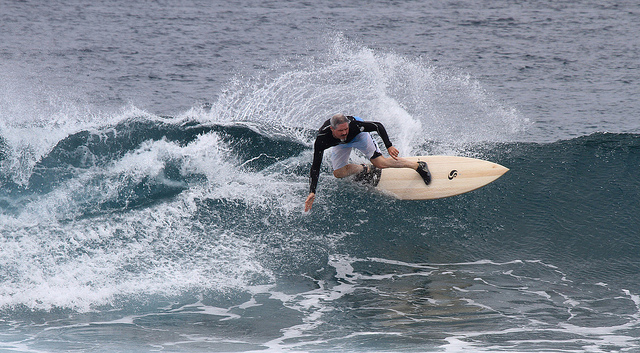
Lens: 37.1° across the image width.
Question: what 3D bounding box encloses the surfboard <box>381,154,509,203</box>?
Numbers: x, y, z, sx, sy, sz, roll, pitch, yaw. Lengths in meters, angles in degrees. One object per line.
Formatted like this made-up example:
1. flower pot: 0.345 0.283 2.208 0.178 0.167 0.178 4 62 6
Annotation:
1. surfboard: 4.459 0.095 34.461 6.649 1.069 0.487 0 -10 1
